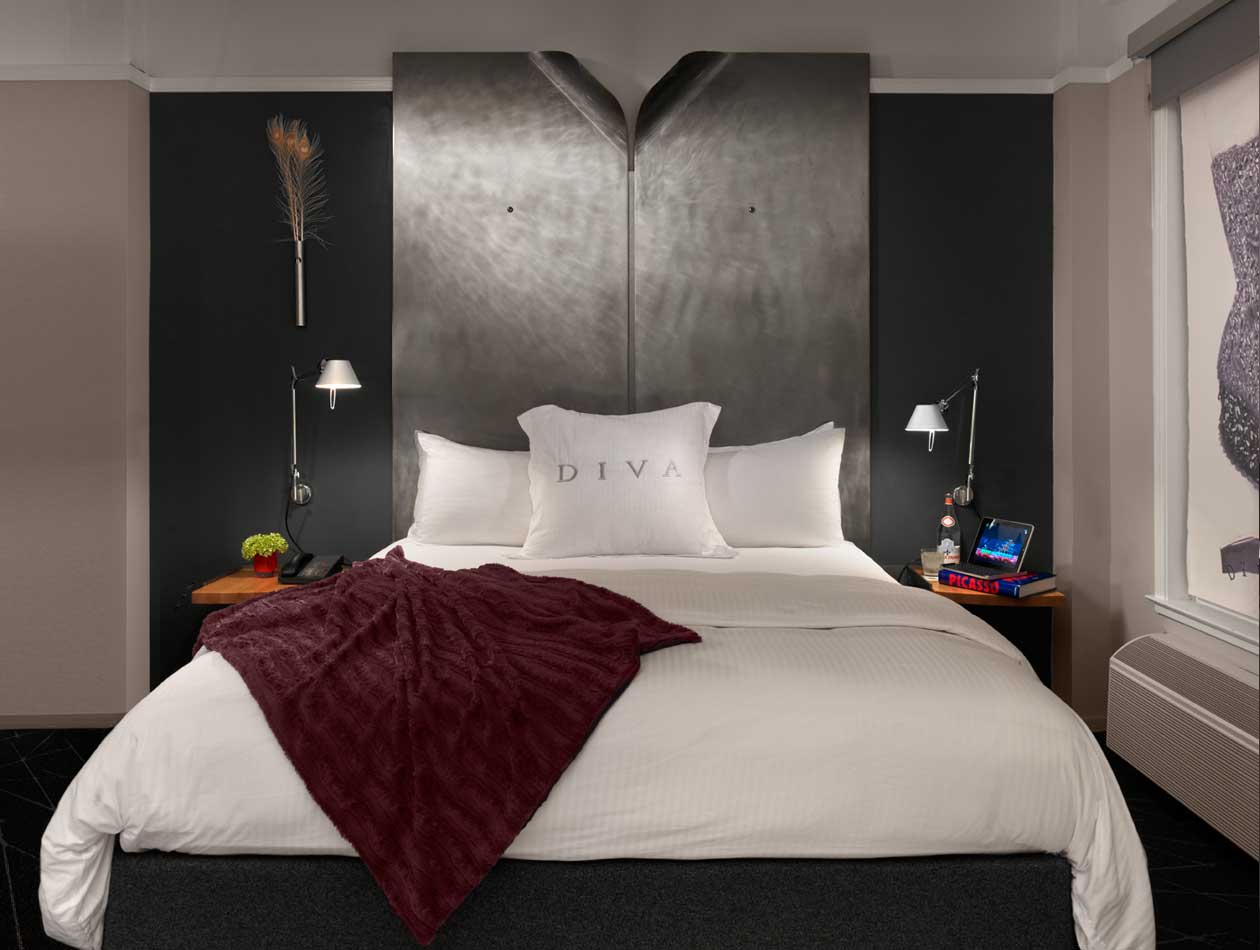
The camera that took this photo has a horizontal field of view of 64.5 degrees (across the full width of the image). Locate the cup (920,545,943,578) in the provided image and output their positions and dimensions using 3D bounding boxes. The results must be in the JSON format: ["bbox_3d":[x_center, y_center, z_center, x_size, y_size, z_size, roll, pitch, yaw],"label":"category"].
[{"bbox_3d":[1.285,0.380,4.304,0.086,0.092,0.092,0,-2,0],"label":"cup"}]

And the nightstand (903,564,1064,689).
[{"bbox_3d":[1.520,0.725,4.285,0.678,0.766,0.520,0,0,0],"label":"nightstand"}]

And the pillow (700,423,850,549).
[{"bbox_3d":[0.569,0.080,4.228,0.662,0.571,0.253,-4,-14,19],"label":"pillow"}]

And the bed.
[{"bbox_3d":[-0.086,0.761,3.200,2.840,0.839,1.380,-1,5,1],"label":"bed"}]

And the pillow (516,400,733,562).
[{"bbox_3d":[-0.034,0.013,4.010,0.784,0.579,0.425,-1,5,-6],"label":"pillow"}]

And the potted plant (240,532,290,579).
[{"bbox_3d":[-1.591,0.331,4.354,0.181,0.184,0.187,1,2,4],"label":"potted plant"}]

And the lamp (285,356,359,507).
[{"bbox_3d":[-1.357,-0.181,4.412,0.348,0.667,0.287,-2,6,-13],"label":"lamp"}]

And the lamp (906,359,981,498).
[{"bbox_3d":[1.368,-0.158,4.374,0.312,0.613,0.299,1,6,13],"label":"lamp"}]

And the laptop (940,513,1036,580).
[{"bbox_3d":[1.523,0.274,4.210,0.275,0.218,0.264,0,3,-33],"label":"laptop"}]
